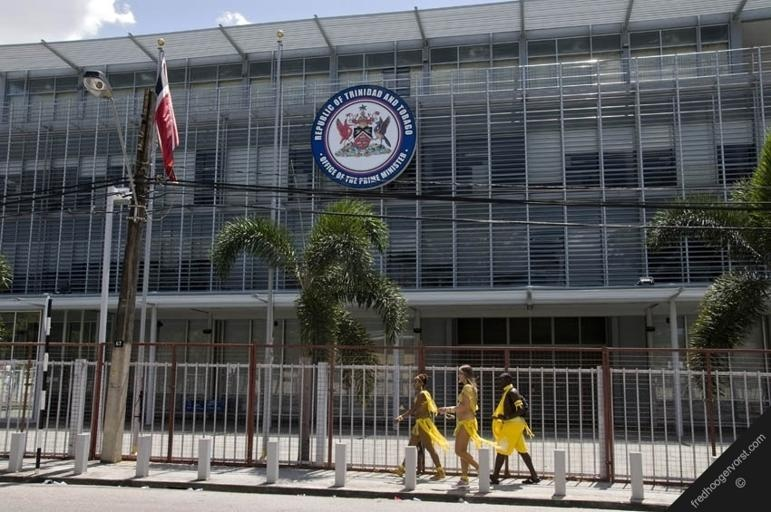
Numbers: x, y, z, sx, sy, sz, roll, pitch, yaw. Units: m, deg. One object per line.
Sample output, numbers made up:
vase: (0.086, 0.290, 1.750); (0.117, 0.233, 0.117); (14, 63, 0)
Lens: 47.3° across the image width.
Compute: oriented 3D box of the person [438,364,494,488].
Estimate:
person: (2.076, 4.318, 22.643); (1.015, 3.121, 1.228); (-1, -18, 3)

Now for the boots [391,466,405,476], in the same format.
boots: (0.383, 5.616, 23.086); (0.297, 0.114, 0.319); (2, -3, -7)

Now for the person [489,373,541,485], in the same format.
person: (3.206, 4.364, 22.502); (1.027, 2.795, 1.045); (-4, -19, 10)
